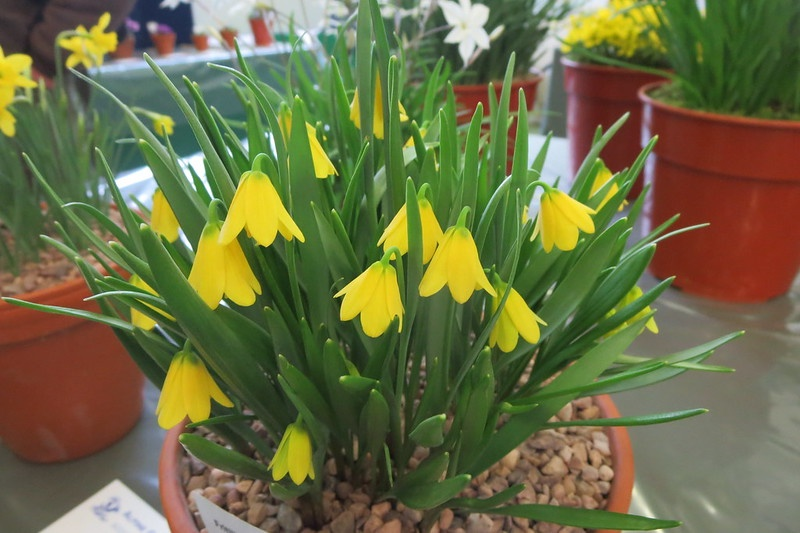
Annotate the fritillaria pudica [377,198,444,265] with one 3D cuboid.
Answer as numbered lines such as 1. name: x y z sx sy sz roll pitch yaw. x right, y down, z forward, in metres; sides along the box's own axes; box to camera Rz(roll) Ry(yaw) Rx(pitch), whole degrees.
1. fritillaria pudica: 0.014 -0.060 1.024 0.079 0.101 0.135 1 56 7

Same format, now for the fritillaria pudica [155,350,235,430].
1. fritillaria pudica: -0.334 0.186 1.052 0.100 0.117 0.096 11 29 11

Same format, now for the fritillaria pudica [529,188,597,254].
1. fritillaria pudica: 0.246 -0.068 1.073 0.105 0.090 0.090 43 5 7

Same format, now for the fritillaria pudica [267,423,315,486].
1. fritillaria pudica: -0.173 0.286 1.057 0.057 0.108 0.082 3 10 -21

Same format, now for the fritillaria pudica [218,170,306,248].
1. fritillaria pudica: -0.211 -0.088 0.996 0.114 0.125 0.127 -8 1 -6

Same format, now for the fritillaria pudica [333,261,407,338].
1. fritillaria pudica: -0.041 0.037 0.993 0.077 0.108 0.093 18 6 10

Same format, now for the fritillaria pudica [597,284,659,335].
1. fritillaria pudica: 0.410 0.068 1.164 0.054 0.101 0.087 -5 -9 -14

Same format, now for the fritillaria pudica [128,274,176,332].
1. fritillaria pudica: -0.409 0.066 1.095 0.058 0.090 0.100 -18 33 -29

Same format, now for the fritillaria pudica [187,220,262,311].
1. fritillaria pudica: -0.261 -0.005 1.002 0.079 0.102 0.063 -22 44 -28

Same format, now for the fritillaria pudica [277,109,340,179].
1. fritillaria pudica: -0.148 -0.190 1.062 0.057 0.133 0.077 11 44 30

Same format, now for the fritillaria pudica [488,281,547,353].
1. fritillaria pudica: 0.167 0.070 1.055 0.062 0.117 0.092 -14 11 -3

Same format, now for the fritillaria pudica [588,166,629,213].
1. fritillaria pudica: 0.350 -0.131 1.146 0.052 0.061 0.132 7 31 16

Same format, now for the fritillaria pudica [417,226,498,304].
1. fritillaria pudica: 0.080 0.001 0.914 0.094 0.126 0.109 -2 24 7

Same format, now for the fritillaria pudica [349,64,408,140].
1. fritillaria pudica: -0.027 -0.272 1.095 0.058 0.077 0.048 -4 20 25
